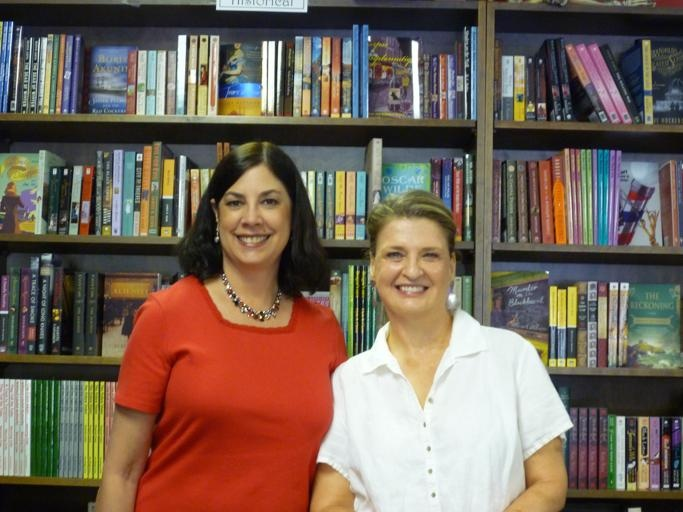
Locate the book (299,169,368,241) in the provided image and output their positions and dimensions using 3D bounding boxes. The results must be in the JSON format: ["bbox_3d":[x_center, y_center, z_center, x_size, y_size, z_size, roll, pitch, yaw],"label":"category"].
[{"bbox_3d":[-0.045,-0.241,3.433,0.247,0.390,0.370,-2,1,-2],"label":"book"}]

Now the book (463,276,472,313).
[{"bbox_3d":[0.548,0.164,3.212,0.042,0.140,0.136,0,-6,4],"label":"book"}]

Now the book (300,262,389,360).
[{"bbox_3d":[0.013,0.231,2.964,0.284,0.308,0.158,-20,-8,-2],"label":"book"}]
